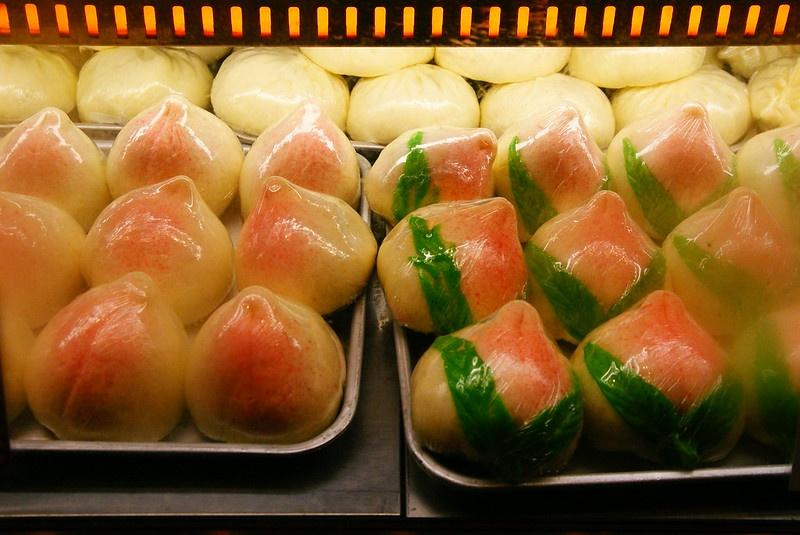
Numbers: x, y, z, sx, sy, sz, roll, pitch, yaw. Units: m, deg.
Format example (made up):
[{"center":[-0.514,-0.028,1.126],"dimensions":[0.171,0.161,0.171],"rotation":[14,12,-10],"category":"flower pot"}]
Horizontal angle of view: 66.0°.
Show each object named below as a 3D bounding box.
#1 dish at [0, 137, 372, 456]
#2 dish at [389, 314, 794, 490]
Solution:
[{"center":[-0.381,0.057,1.266],"dimensions":[0.618,0.174,0.690],"rotation":[3,42,-2],"category":"dish"},{"center":[0.340,0.226,0.943],"dimensions":[0.331,0.039,0.363],"rotation":[1,49,-5],"category":"dish"}]
